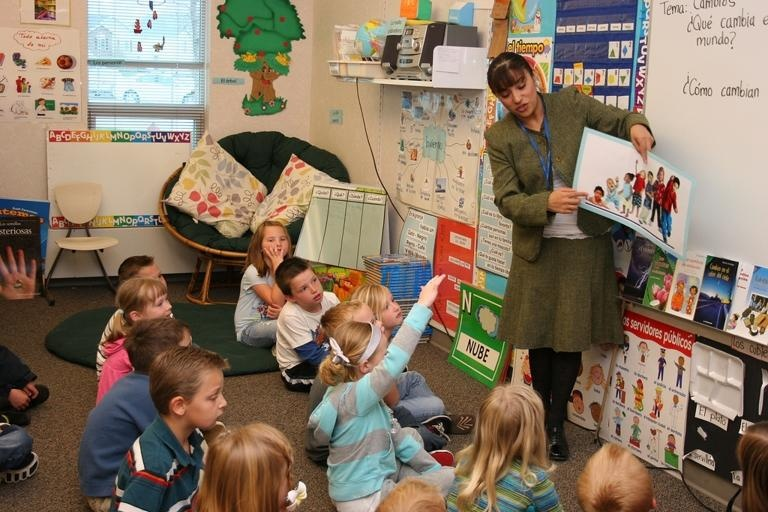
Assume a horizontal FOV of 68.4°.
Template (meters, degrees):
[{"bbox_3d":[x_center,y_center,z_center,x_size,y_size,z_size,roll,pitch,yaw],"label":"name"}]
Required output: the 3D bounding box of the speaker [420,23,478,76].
[{"bbox_3d":[0.425,-1.386,3.750,0.367,0.296,0.141,2,17,1],"label":"speaker"}]

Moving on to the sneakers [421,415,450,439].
[{"bbox_3d":[0.288,0.946,3.092,0.170,0.147,0.100,2,17,1],"label":"sneakers"}]

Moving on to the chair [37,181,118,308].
[{"bbox_3d":[-2.815,-0.150,5.177,0.608,0.971,0.596,-9,20,-30],"label":"chair"}]

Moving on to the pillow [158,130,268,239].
[{"bbox_3d":[-1.572,-0.572,5.313,0.267,0.926,0.934,-19,34,47],"label":"pillow"}]

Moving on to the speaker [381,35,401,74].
[{"bbox_3d":[0.051,-1.469,4.075,0.080,0.253,0.174,6,5,-29],"label":"speaker"}]

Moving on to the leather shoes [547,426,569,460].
[{"bbox_3d":[0.913,0.990,2.977,0.078,0.082,0.204,-2,12,5],"label":"leather shoes"}]
